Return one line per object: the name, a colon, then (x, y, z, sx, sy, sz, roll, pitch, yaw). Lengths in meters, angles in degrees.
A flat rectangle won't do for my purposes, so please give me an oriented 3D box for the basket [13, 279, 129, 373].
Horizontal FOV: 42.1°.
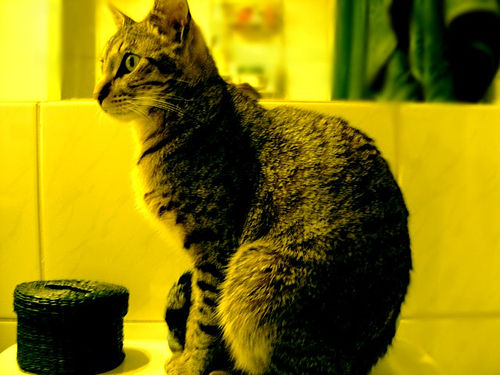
basket: (-0.310, 0.244, 1.108, 0.157, 0.113, 0.162, 3, -9, -7)
